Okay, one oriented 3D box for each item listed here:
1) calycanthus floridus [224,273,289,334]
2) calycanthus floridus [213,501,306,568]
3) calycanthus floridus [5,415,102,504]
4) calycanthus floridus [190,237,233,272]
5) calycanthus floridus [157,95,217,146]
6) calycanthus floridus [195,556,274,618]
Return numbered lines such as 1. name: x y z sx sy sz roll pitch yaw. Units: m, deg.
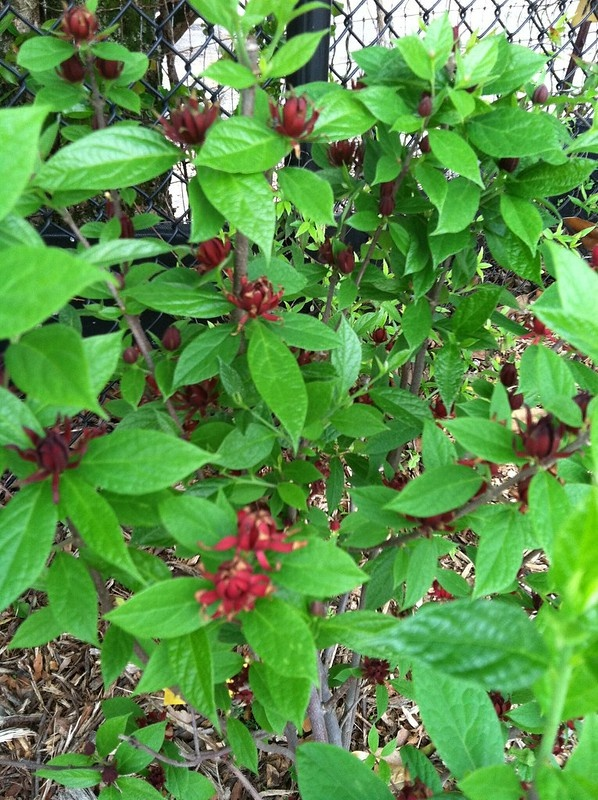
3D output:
1. calycanthus floridus: -0.083 -0.177 1.202 0.092 0.097 0.064 10 -15 10
2. calycanthus floridus: -0.050 0.174 0.823 0.112 0.045 0.097 6 4 28
3. calycanthus floridus: -0.348 0.073 0.910 0.111 0.050 0.106 -5 42 -11
4. calycanthus floridus: -0.171 -0.278 1.247 0.054 0.074 0.150 21 13 -12
5. calycanthus floridus: -0.190 -0.480 1.107 0.071 0.084 0.165 17 14 -25
6. calycanthus floridus: -0.083 0.248 0.828 0.101 0.045 0.084 -12 -28 15
